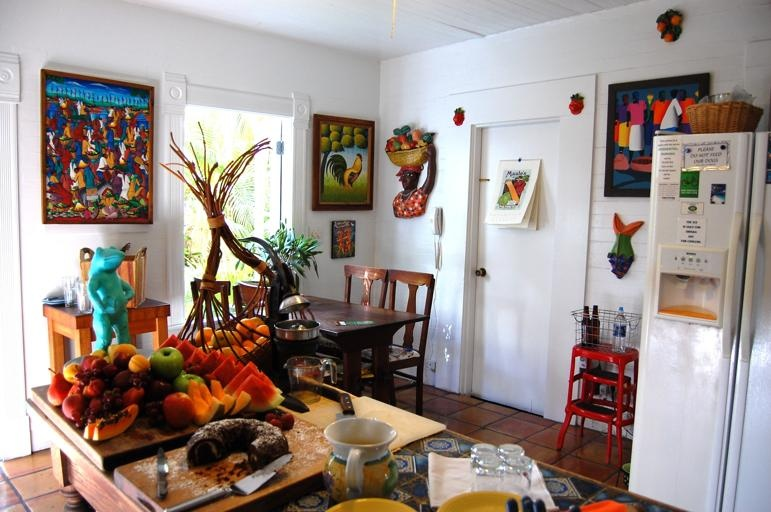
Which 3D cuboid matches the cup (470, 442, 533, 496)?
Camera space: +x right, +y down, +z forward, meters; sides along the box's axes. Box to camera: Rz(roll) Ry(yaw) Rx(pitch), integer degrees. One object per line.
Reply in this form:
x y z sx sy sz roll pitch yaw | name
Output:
0.393 0.716 1.794 0.198 0.128 0.179 2 9 16 | cup

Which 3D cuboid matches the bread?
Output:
-0.545 0.704 1.973 0.358 0.116 0.345 2 -2 -1 | bread

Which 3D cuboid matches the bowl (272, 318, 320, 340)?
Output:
-0.427 0.344 2.484 0.221 0.084 0.141 1 9 12 | bowl

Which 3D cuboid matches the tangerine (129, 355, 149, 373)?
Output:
-0.991 0.440 2.159 0.066 0.067 0.066 -3 -27 19 | tangerine

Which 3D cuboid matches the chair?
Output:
-0.411 0.521 3.349 0.770 1.337 0.770 -1 4 -38 | chair

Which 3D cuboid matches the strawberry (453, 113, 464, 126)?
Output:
0.715 -1.346 5.099 0.084 0.116 0.044 6 4 30 | strawberry

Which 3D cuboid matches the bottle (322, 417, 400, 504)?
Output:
-0.074 0.660 1.859 0.263 0.281 0.370 2 2 24 | bottle

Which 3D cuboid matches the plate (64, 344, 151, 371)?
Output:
-1.132 0.425 2.170 0.193 0.082 0.197 0 -1 43 | plate

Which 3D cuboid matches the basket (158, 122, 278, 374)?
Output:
-0.738 -0.023 2.455 0.446 1.012 0.440 -5 -1 -32 | basket

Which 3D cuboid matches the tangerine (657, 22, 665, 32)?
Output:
2.086 -1.750 3.987 0.043 0.060 0.078 -1 9 -5 | tangerine

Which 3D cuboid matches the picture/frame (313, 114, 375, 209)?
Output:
-0.422 -0.990 5.561 0.814 0.965 0.019 -6 11 -40 | picture/frame

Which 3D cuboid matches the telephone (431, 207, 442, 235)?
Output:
0.540 -0.358 5.283 0.098 0.289 0.053 0 9 4 | telephone

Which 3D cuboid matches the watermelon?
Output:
-0.679 0.504 2.286 0.440 0.248 0.516 1 11 -36 | watermelon

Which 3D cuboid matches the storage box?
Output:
-2.130 0.166 4.139 0.426 0.470 0.264 -1 11 -16 | storage box

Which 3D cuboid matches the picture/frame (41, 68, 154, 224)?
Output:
-2.303 -0.890 4.138 0.876 1.261 0.076 -1 4 -42 | picture/frame

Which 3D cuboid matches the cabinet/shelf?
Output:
1.669 1.051 4.167 0.524 0.948 0.559 -7 10 -44 | cabinet/shelf

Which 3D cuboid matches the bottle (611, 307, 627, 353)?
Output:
1.845 0.567 4.120 0.094 0.290 0.278 4 10 24 | bottle

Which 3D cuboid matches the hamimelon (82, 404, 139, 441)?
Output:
-1.045 0.641 2.015 0.068 0.081 0.193 35 29 28 | hamimelon

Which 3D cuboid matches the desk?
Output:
-2.176 0.479 4.101 0.649 0.700 0.802 11 11 44 | desk

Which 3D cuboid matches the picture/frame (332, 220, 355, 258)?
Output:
-0.456 -0.195 5.609 0.391 0.534 0.055 -1 2 -44 | picture/frame

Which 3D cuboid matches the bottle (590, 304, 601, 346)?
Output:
1.700 0.543 4.246 0.071 0.294 0.233 3 10 23 | bottle

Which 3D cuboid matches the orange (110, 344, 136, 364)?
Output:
-1.109 0.393 2.211 0.076 0.080 0.081 15 13 15 | orange
